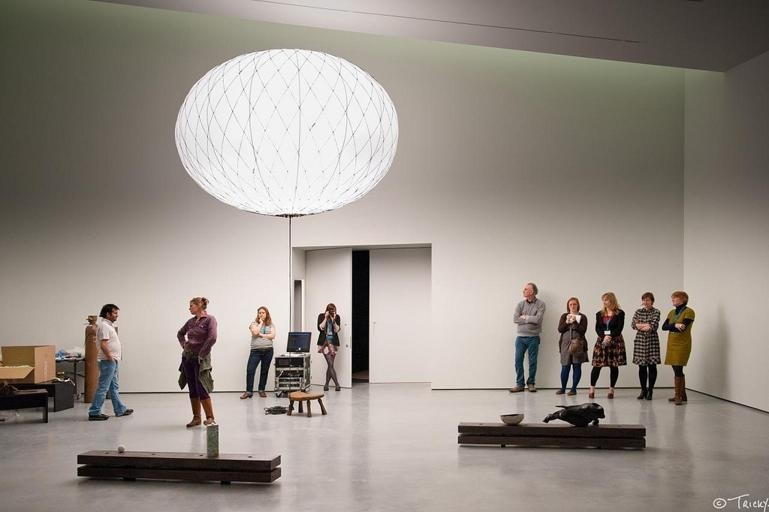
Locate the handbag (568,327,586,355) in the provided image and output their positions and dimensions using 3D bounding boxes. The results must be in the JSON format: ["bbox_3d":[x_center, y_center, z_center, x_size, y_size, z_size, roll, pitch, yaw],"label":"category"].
[{"bbox_3d":[3.681,1.640,11.650,0.422,0.578,0.248,2,-12,-30],"label":"handbag"}]

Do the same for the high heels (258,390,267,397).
[{"bbox_3d":[-2.426,2.760,12.137,0.076,0.110,0.245,1,-13,-22],"label":"high heels"}]

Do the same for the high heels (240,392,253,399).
[{"bbox_3d":[-2.720,2.771,12.015,0.088,0.122,0.273,-7,-15,34],"label":"high heels"}]

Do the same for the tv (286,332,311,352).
[{"bbox_3d":[-1.702,1.755,12.311,0.599,0.559,0.324,0,-13,2],"label":"tv"}]

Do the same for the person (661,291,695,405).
[{"bbox_3d":[5.347,1.656,11.111,0.545,2.033,0.461,0,-4,10],"label":"person"}]

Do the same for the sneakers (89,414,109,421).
[{"bbox_3d":[-4.824,2.734,10.267,0.319,0.144,0.123,1,-4,-7],"label":"sneakers"}]

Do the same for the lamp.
[{"bbox_3d":[-0.956,-1.258,6.045,1.945,1.335,1.665,-3,-14,9],"label":"lamp"}]

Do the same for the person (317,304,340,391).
[{"bbox_3d":[-1.159,1.899,12.850,0.501,1.794,0.697,1,-4,-5],"label":"person"}]

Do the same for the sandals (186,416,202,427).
[{"bbox_3d":[-3.053,2.681,9.848,0.267,0.219,0.112,5,-6,-28],"label":"sandals"}]

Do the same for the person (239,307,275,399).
[{"bbox_3d":[-2.524,1.923,12.272,0.575,1.779,0.573,1,-4,-11],"label":"person"}]

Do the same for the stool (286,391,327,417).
[{"bbox_3d":[-1.351,2.544,10.660,0.676,0.412,1.282,1,-5,-9],"label":"stool"}]

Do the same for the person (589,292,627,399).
[{"bbox_3d":[4.230,1.692,11.586,0.678,1.981,0.521,0,-4,13],"label":"person"}]

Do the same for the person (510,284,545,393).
[{"bbox_3d":[2.891,1.645,12.292,0.642,2.159,0.541,-1,-4,15],"label":"person"}]

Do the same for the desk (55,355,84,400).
[{"bbox_3d":[-6.329,2.452,12.162,0.578,0.619,0.640,-7,-18,29],"label":"desk"}]

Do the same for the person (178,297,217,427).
[{"bbox_3d":[-2.982,1.693,9.688,0.587,2.076,0.927,2,-4,-20],"label":"person"}]

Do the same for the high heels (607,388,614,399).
[{"bbox_3d":[4.275,2.612,11.513,0.098,0.326,0.083,1,-9,-17],"label":"high heels"}]

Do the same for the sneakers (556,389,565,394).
[{"bbox_3d":[3.438,2.660,11.897,0.134,0.059,0.072,6,-8,-19],"label":"sneakers"}]

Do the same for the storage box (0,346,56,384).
[{"bbox_3d":[-6.476,1.913,11.120,0.684,0.694,0.714,1,-4,1],"label":"storage box"}]

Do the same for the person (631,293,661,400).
[{"bbox_3d":[5.018,1.706,11.684,0.463,1.985,0.857,-1,-4,23],"label":"person"}]

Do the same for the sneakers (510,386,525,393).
[{"bbox_3d":[2.660,2.670,12.178,0.284,0.124,0.108,4,-5,-14],"label":"sneakers"}]

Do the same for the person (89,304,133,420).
[{"bbox_3d":[-4.945,1.848,11.025,0.648,1.945,1.544,2,-4,-24],"label":"person"}]
